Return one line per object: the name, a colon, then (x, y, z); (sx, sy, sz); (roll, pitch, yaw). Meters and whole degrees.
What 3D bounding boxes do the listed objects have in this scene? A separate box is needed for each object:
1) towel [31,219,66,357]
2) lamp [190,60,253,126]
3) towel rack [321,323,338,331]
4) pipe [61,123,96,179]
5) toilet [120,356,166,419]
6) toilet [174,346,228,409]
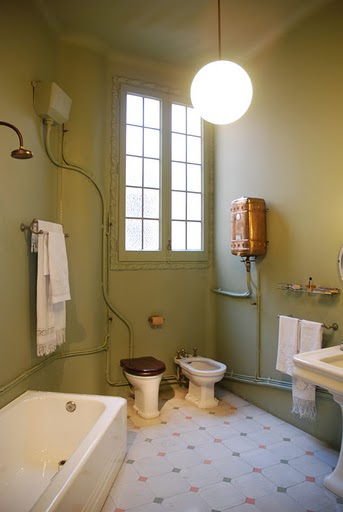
towel: (-0.810, 0.201, 2.632); (0.153, 0.905, 0.338); (1, 0, 19)
lamp: (0.236, -0.769, 1.857); (0.262, 0.252, 0.193); (2, -1, -21)
towel rack: (0.989, 0.438, 2.472); (0.071, 0.048, 0.041); (6, -4, -37)
pipe: (-0.728, -0.816, 3.113); (0.273, 0.429, 0.056); (2, -1, -20)
toilet: (-0.228, 1.077, 3.128); (0.382, 0.442, 0.299); (-4, 5, 19)
toilet: (0.231, 1.043, 3.345); (0.249, 0.391, 0.465); (1, -4, -23)
